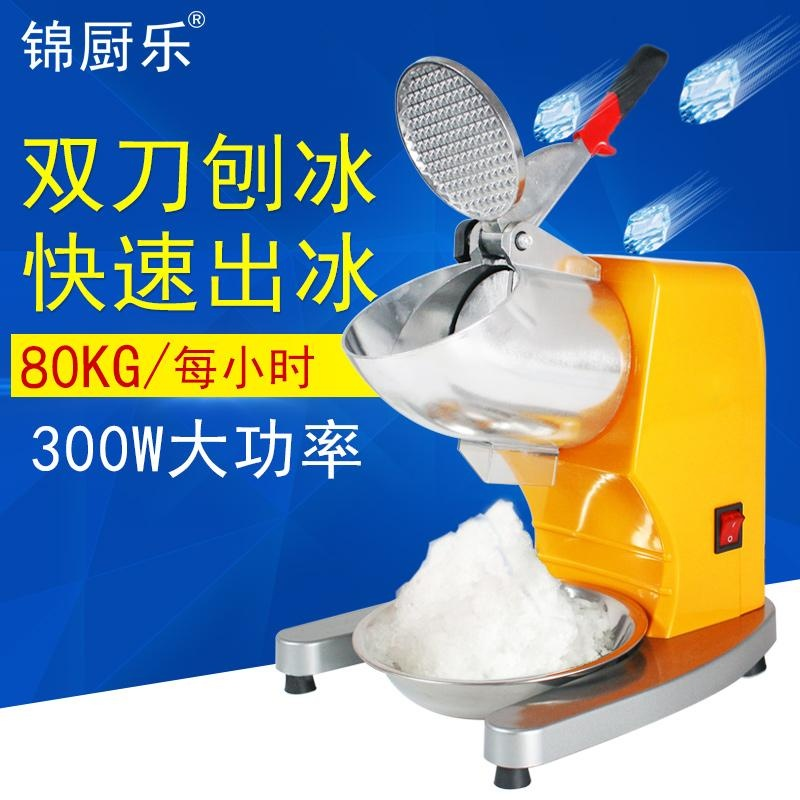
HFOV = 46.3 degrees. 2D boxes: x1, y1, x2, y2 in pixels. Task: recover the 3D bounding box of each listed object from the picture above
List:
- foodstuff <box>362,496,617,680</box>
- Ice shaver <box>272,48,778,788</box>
[{"bbox_3d":[0.102,0.226,1.079,0.224,0.055,0.200,7,44,18],"label":"foodstuff"},{"bbox_3d":[0.178,-0.029,1.154,0.663,0.759,0.517,-1,4,-35],"label":"Ice shaver"}]
